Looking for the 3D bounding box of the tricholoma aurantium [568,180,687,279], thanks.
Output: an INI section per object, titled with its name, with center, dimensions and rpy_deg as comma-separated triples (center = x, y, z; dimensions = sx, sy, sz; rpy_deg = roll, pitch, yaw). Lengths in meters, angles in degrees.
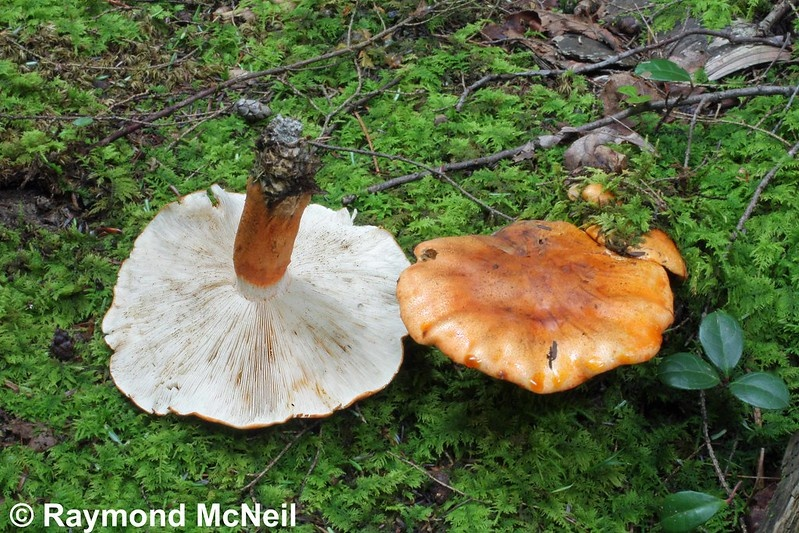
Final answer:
[tricholoma aurantium]
center = 1.743, -0.292, 4.808
dimensions = 0.753, 0.749, 0.208
rpy_deg = 30, -78, -41
